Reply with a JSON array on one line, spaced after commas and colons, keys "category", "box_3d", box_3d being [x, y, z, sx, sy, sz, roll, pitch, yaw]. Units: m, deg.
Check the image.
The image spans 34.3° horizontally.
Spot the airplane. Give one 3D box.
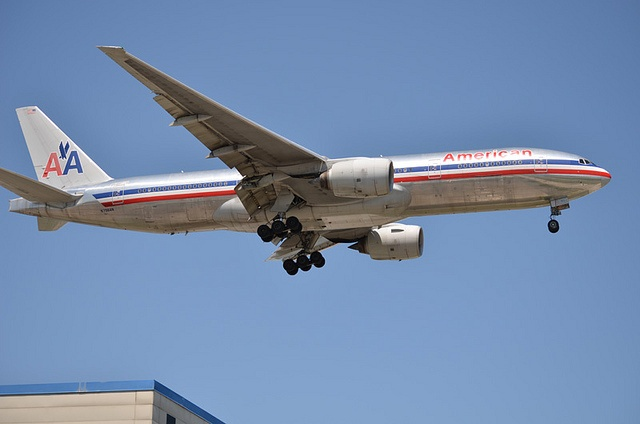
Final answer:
[{"category": "airplane", "box_3d": [-1.843, -1.083, 41.521, 20.271, 10.737, 10.364, 14, -50, -13]}]
